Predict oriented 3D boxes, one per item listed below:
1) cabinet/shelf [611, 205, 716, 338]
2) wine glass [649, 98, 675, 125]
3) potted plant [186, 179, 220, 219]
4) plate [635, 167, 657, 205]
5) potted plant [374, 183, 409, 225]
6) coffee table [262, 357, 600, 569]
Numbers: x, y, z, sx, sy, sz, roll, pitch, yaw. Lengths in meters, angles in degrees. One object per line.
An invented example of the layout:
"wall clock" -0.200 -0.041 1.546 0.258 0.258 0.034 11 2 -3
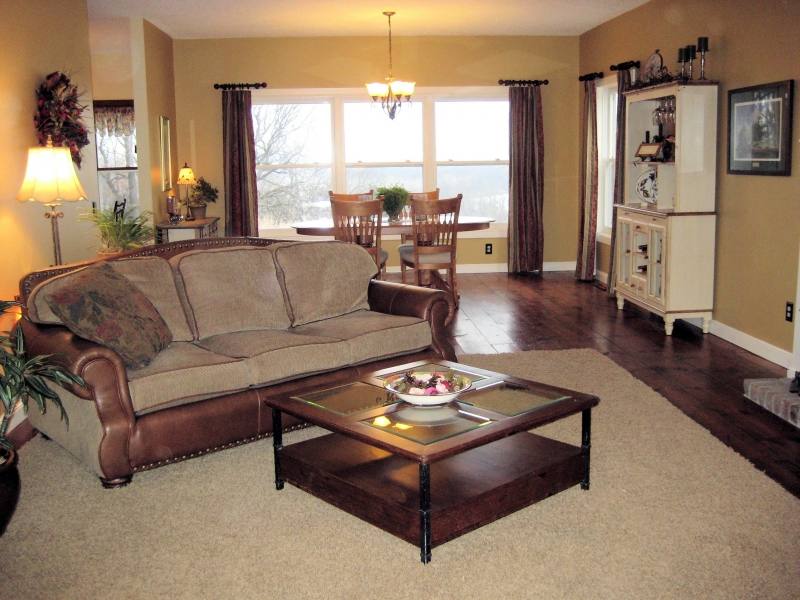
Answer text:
"cabinet/shelf" 2.388 -0.259 5.700 0.496 1.004 1.144 -2 11 -10
"wine glass" 2.369 -1.690 5.744 0.080 0.247 0.184 4 6 -31
"potted plant" -2.527 -1.276 7.983 0.326 0.469 0.629 -2 14 -1
"plate" 2.497 -1.151 6.436 0.072 0.284 0.300 -1 5 -24
"potted plant" -0.121 -1.033 6.766 0.370 0.383 0.405 6 10 41
"coffee table" 0.258 0.489 2.800 0.993 0.383 0.986 -9 12 -42
